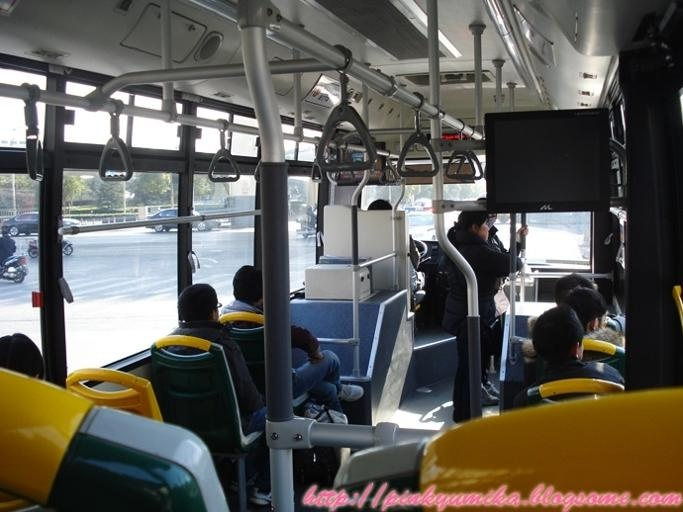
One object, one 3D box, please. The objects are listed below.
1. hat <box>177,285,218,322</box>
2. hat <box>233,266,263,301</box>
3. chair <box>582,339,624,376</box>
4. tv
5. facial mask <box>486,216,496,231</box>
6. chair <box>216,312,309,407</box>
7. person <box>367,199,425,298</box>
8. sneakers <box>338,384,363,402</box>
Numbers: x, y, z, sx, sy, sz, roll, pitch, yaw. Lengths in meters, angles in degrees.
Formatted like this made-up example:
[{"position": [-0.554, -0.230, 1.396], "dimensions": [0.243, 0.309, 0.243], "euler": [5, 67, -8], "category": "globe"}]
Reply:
[{"position": [-0.849, 0.266, 3.260], "dimensions": [0.196, 0.233, 0.239], "euler": [3, 40, -1], "category": "hat"}, {"position": [-0.648, 0.199, 3.937], "dimensions": [0.252, 0.288, 0.317], "euler": [1, 8, 4], "category": "hat"}, {"position": [1.418, 0.535, 2.880], "dimensions": [0.210, 0.209, 0.159], "euler": [-2, -1, 22], "category": "chair"}, {"position": [0.914, -0.419, 2.332], "dimensions": [0.451, 0.384, 0.060], "euler": [0, 4, 5], "category": "tv"}, {"position": [1.740, -0.400, 6.172], "dimensions": [0.076, 0.208, 0.158], "euler": [9, 10, 32], "category": "facial mask"}, {"position": [-0.539, 0.894, 3.638], "dimensions": [0.503, 0.701, 0.565], "euler": [-4, -30, -5], "category": "chair"}, {"position": [0.717, -0.101, 6.650], "dimensions": [0.610, 1.176, 2.002], "euler": [-3, -4, 9], "category": "person"}, {"position": [0.091, 1.098, 4.328], "dimensions": [0.223, 0.095, 0.101], "euler": [-4, 27, 3], "category": "sneakers"}]
